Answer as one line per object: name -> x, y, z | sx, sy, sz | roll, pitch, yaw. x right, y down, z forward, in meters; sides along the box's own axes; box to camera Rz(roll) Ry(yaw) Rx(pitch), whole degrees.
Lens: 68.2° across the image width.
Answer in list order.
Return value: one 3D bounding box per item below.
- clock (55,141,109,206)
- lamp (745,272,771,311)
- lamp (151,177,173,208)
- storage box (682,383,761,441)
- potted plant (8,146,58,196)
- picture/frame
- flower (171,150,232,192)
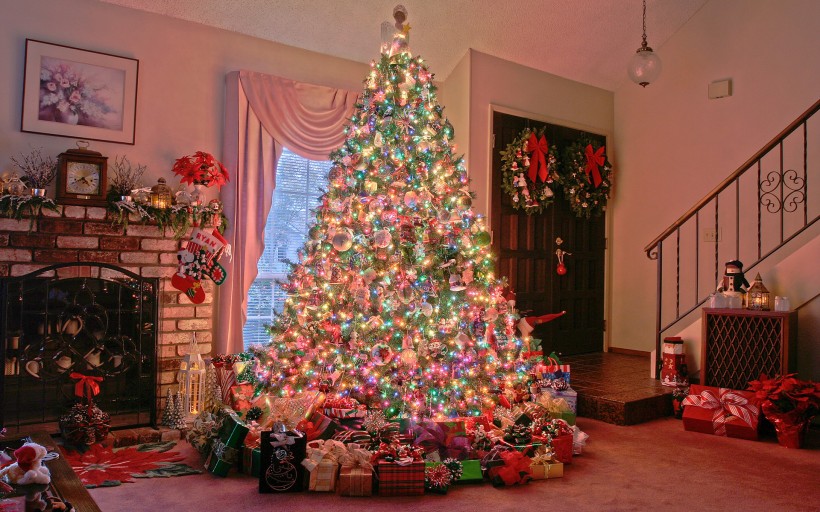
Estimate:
clock -> -2.821, -0.682, 5.199 | 0.368, 0.462, 0.263 | 0, 6, -44
lamp -> 3.245, 0.349, 5.642 | 0.205, 0.305, 0.186 | 9, 15, 31
lamp -> -2.193, -0.556, 5.376 | 0.182, 0.257, 0.136 | -4, 13, -22
storage box -> 2.738, 1.372, 5.309 | 0.506, 0.366, 0.179 | 2, -38, 32
potted plant -> -3.155, -0.702, 5.169 | 0.359, 0.386, 0.368 | -2, -3, 28
picture/frame -> -2.918, -1.430, 5.275 | 1.029, 0.877, 0.064 | 4, -8, -28
flower -> -1.905, -0.766, 5.453 | 0.401, 0.253, 0.387 | 4, 5, -4
